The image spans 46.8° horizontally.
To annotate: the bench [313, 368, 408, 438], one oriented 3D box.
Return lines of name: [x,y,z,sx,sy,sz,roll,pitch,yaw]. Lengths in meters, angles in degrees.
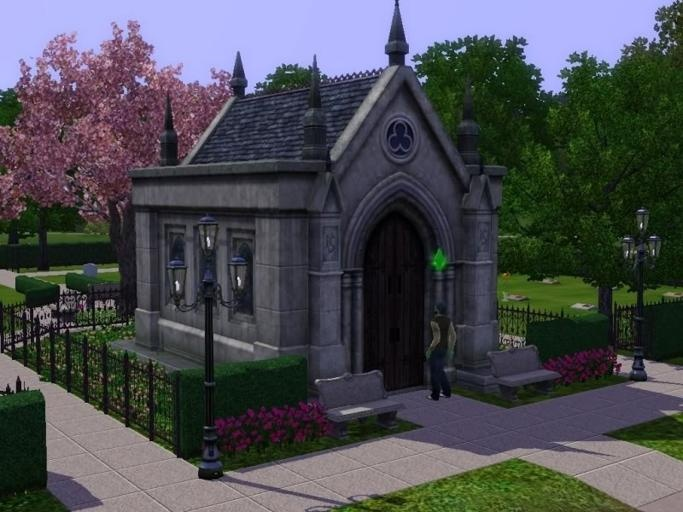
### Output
bench: [0.460,3.646,19.382,2.075,1.316,0.929,-3,1,-35]

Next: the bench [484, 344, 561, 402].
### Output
bench: [5.113,3.246,21.969,1.811,1.271,1.014,-3,2,-33]
